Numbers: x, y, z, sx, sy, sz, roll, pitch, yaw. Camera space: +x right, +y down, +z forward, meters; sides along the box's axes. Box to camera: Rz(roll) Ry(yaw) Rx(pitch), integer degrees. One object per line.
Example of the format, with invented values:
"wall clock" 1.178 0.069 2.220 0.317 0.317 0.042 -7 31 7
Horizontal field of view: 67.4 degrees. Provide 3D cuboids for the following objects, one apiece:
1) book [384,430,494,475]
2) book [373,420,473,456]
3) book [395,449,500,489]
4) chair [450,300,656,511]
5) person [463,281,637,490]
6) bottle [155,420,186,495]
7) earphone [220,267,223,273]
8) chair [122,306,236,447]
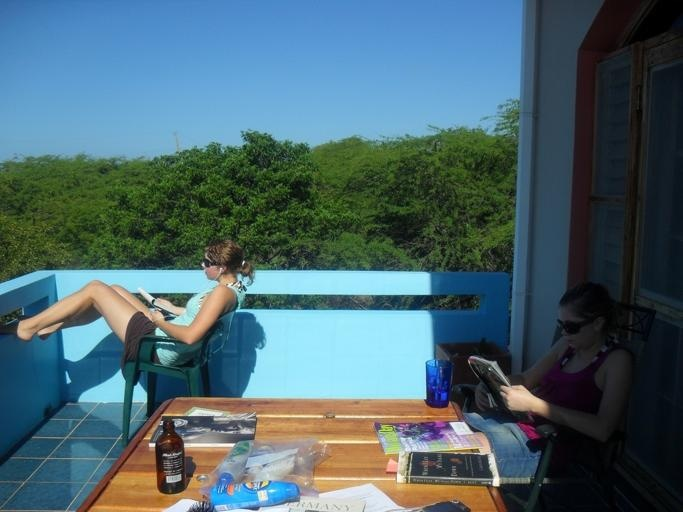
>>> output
"book" 0.332 0.695 1.776 0.478 0.042 0.387 0 3 5
"book" 0.298 0.679 1.874 0.357 0.024 0.263 -1 4 -7
"book" 0.349 0.715 1.711 0.333 0.049 0.143 0 4 3
"chair" 1.022 0.504 2.218 0.547 1.114 0.534 0 3 -7
"person" 0.976 0.465 2.588 0.784 1.349 0.619 6 10 -6
"bottle" -0.554 0.639 1.640 0.114 0.228 0.091 0 4 -2
"earphone" -0.730 0.094 3.124 0.021 0.025 0.011 -1 4 -11
"chair" -1.036 0.715 3.223 0.510 0.727 0.494 5 3 -7
